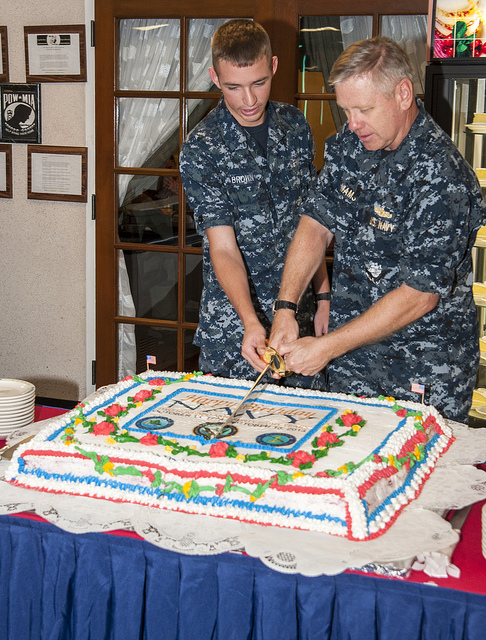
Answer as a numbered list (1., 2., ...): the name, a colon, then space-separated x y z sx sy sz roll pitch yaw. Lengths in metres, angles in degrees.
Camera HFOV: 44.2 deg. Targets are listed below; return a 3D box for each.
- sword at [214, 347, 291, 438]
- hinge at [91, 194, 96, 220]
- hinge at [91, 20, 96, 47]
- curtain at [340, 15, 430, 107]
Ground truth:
1. sword: 0.038 0.171 1.526 0.029 0.268 0.096 24 -20 43
2. hinge: -0.908 -0.691 3.658 0.032 0.146 0.016 -3 8 -11
3. hinge: -0.871 -1.674 3.488 0.036 0.148 0.011 2 8 23
4. curtain: 0.707 -1.349 3.021 0.430 0.396 0.187 2 8 21
